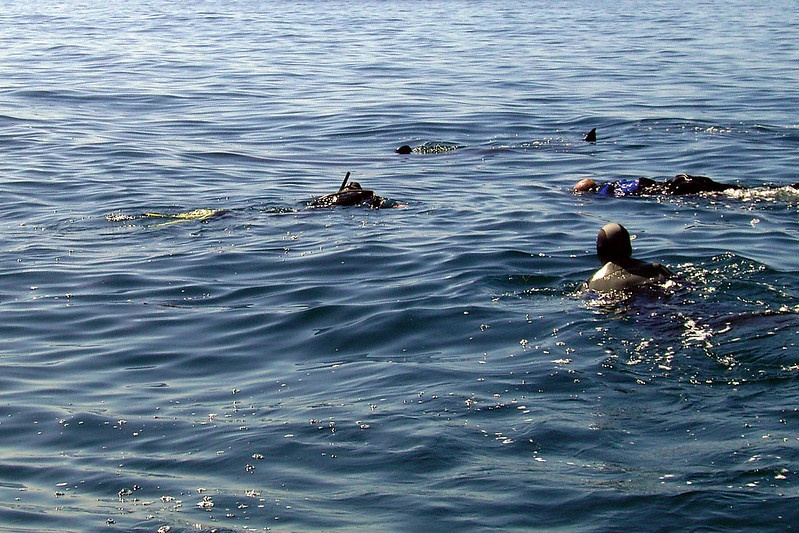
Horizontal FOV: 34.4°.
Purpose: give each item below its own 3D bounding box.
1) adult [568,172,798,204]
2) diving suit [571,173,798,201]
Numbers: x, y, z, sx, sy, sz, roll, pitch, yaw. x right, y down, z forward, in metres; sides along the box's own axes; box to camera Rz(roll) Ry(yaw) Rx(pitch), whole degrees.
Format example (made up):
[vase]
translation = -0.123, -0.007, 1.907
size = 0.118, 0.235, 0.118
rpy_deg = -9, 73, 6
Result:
[adult]
translation = 4.283, -1.222, 20.146
size = 3.604, 0.265, 0.859
rpy_deg = 1, 5, 16
[diving suit]
translation = 4.174, -1.185, 20.171
size = 3.842, 0.261, 0.838
rpy_deg = 1, 4, 15
